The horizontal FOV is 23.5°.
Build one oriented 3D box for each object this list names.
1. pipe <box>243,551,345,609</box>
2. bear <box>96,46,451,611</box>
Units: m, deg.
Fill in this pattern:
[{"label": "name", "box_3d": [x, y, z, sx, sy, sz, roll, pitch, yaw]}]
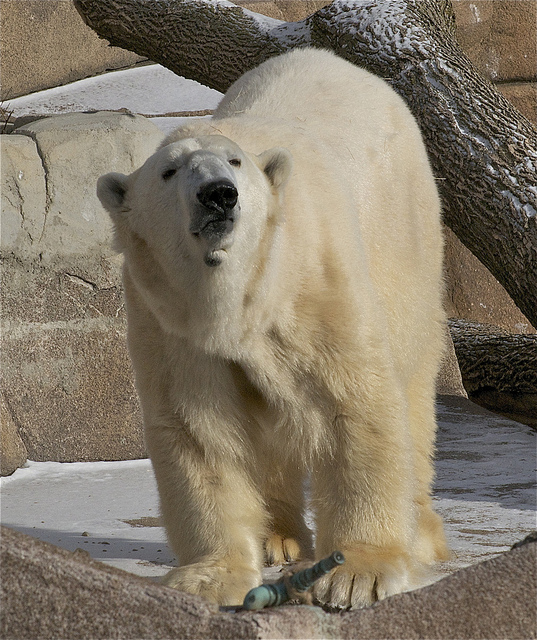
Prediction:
[{"label": "pipe", "box_3d": [0.055, 0.464, 2.324, 0.135, 0.140, 0.144, 7, 11, 40]}, {"label": "bear", "box_3d": [0.161, -0.005, 3.276, 1.113, 1.372, 0.831, 14, 23, 40]}]
